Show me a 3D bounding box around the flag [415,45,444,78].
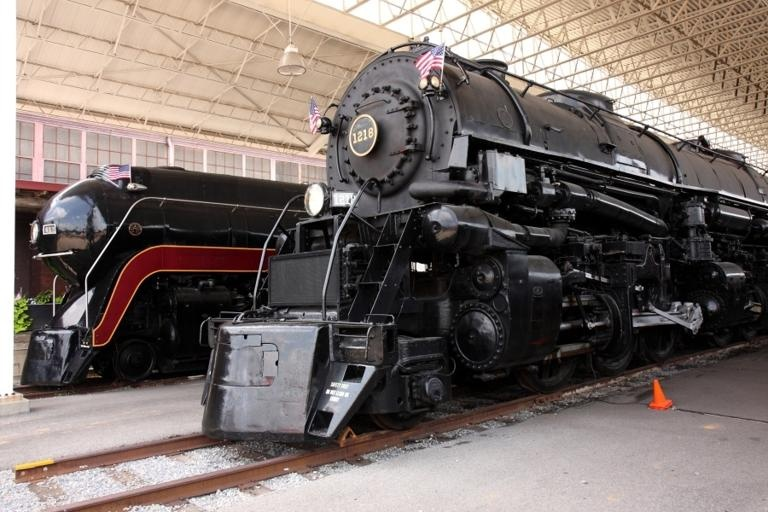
[{"bbox_3d":[0.654,-2.718,7.453,0.391,0.503,0.354,-2,3,3],"label":"flag"}]

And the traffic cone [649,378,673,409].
[{"bbox_3d":[4.563,2.282,8.730,0.351,0.405,0.335,-9,14,43],"label":"traffic cone"}]

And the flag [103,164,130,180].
[{"bbox_3d":[-5.777,-1.778,11.442,0.438,0.264,0.034,2,0,12],"label":"flag"}]
